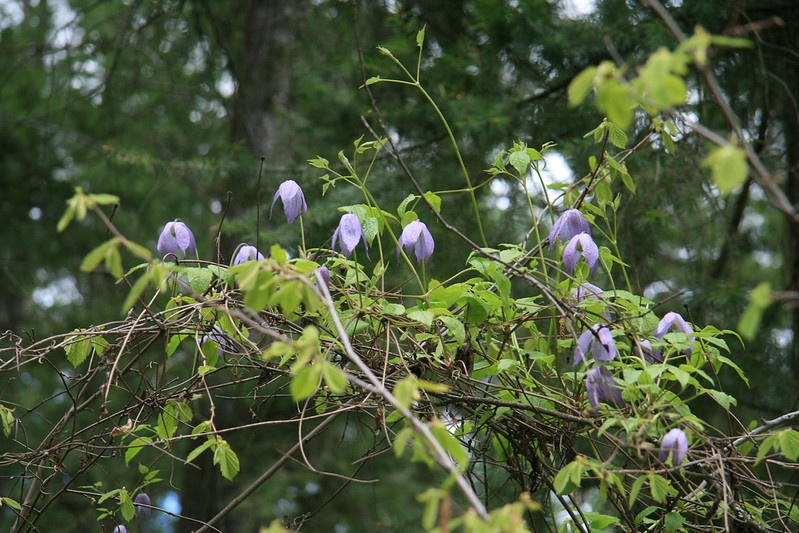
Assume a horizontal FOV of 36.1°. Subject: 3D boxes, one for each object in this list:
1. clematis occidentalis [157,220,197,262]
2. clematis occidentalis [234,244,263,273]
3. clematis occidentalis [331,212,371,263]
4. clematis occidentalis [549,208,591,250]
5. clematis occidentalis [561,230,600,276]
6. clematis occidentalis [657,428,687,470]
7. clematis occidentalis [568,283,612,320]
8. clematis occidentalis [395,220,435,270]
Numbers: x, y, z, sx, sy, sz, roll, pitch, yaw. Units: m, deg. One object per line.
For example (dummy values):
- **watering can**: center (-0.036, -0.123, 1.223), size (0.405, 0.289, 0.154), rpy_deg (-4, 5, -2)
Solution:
- **clematis occidentalis**: center (-1.210, -0.160, 6.702), size (0.211, 0.238, 0.215), rpy_deg (-7, -4, 6)
- **clematis occidentalis**: center (-0.816, -0.044, 6.544), size (0.130, 0.145, 0.139), rpy_deg (-8, -1, 36)
- **clematis occidentalis**: center (-0.256, -0.171, 6.581), size (0.162, 0.226, 0.177), rpy_deg (3, -3, -16)
- **clematis occidentalis**: center (0.903, -0.219, 6.571), size (0.184, 0.223, 0.203), rpy_deg (-8, 4, 1)
- **clematis occidentalis**: center (0.953, -0.059, 6.580), size (0.177, 0.263, 0.244), rpy_deg (-6, 7, -22)
- **clematis occidentalis**: center (1.396, 0.947, 6.302), size (0.121, 0.227, 0.142), rpy_deg (3, 16, -29)
- **clematis occidentalis**: center (1.068, 0.189, 6.646), size (0.373, 0.127, 0.099), rpy_deg (25, -18, -29)
- **clematis occidentalis**: center (0.093, -0.144, 6.628), size (0.160, 0.223, 0.171), rpy_deg (8, -9, -4)
